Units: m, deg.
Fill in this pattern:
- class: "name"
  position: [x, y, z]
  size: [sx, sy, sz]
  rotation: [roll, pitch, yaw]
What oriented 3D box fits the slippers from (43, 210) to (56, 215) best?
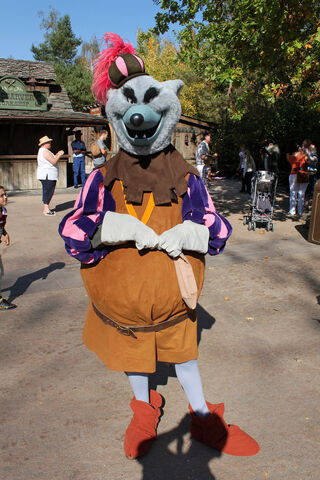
- class: "slippers"
  position: [-2.724, -0.687, 9.988]
  size: [0.248, 0.099, 0.133]
  rotation: [0, 8, 21]
